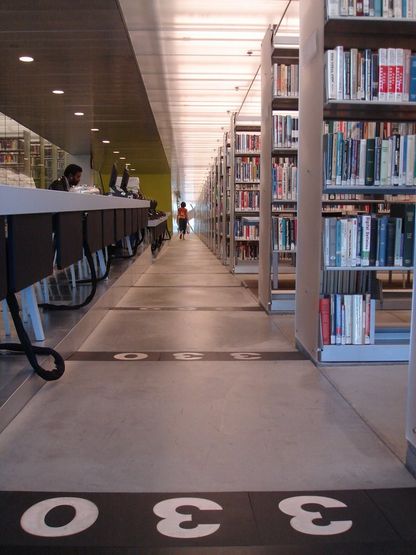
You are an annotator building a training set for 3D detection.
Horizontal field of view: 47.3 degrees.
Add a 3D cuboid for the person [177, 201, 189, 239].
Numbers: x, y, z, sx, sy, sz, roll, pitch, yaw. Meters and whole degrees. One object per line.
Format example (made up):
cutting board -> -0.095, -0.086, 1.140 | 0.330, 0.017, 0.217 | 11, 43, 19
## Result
person -> -1.043, -2.373, 20.259 | 0.382, 1.690, 0.375 | -1, 29, -8
